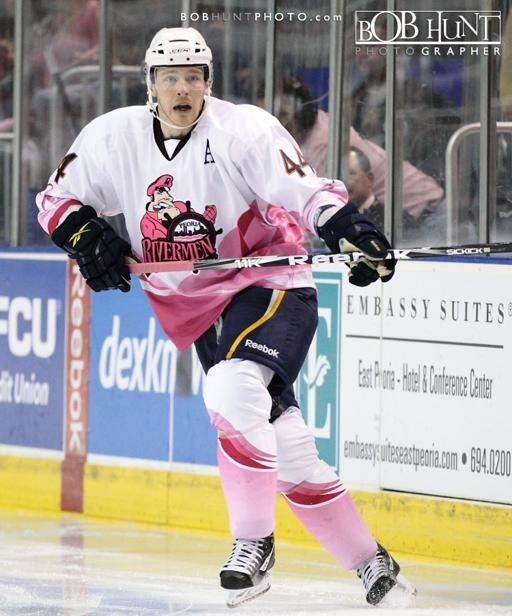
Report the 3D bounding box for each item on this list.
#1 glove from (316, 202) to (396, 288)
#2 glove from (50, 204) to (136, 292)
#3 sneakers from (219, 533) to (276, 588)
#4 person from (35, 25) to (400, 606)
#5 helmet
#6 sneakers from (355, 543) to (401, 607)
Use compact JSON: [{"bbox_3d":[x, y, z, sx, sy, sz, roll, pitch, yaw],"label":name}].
[{"bbox_3d":[0.284,-0.187,3.748,0.221,0.199,0.100,45,32,19],"label":"glove"},{"bbox_3d":[-0.509,-0.207,4.154,0.224,0.130,0.399,9,-3,-17],"label":"glove"},{"bbox_3d":[-0.020,0.705,3.759,0.099,0.132,0.236,1,5,21],"label":"sneakers"},{"bbox_3d":[-0.072,0.042,4.089,0.993,1.740,0.922,-7,-1,11],"label":"person"},{"bbox_3d":[-0.229,-0.710,4.019,0.219,0.254,0.254,-10,15,-33],"label":"helmet"},{"bbox_3d":[0.356,0.778,3.958,0.098,0.080,0.218,43,22,-3],"label":"sneakers"}]
